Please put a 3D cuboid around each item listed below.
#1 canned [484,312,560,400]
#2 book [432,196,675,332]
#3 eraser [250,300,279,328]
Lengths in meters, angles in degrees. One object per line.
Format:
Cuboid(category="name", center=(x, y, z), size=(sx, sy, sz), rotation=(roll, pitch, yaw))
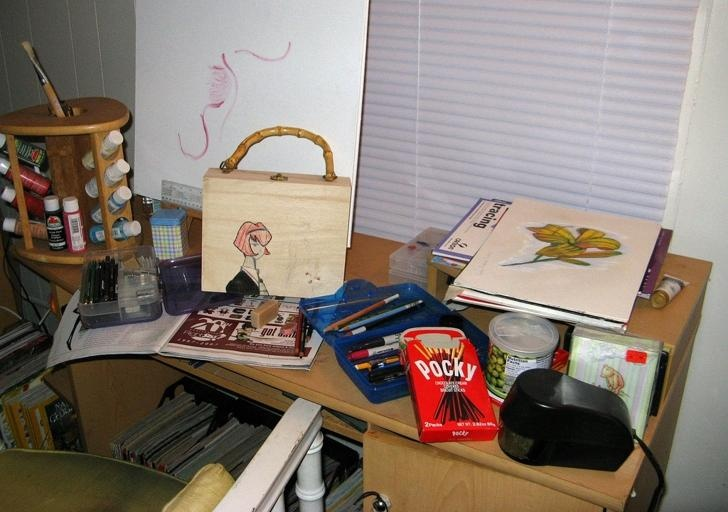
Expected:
Cuboid(category="canned", center=(0.298, 0.180, 1.088), size=(0.174, 0.165, 0.161), rotation=(8, 31, 15))
Cuboid(category="book", center=(0.409, 0.014, 1.159), size=(0.354, 0.066, 0.336), rotation=(12, 41, 23))
Cuboid(category="eraser", center=(-0.241, 0.145, 1.283), size=(0.019, 0.033, 0.058), rotation=(22, 31, 30))
